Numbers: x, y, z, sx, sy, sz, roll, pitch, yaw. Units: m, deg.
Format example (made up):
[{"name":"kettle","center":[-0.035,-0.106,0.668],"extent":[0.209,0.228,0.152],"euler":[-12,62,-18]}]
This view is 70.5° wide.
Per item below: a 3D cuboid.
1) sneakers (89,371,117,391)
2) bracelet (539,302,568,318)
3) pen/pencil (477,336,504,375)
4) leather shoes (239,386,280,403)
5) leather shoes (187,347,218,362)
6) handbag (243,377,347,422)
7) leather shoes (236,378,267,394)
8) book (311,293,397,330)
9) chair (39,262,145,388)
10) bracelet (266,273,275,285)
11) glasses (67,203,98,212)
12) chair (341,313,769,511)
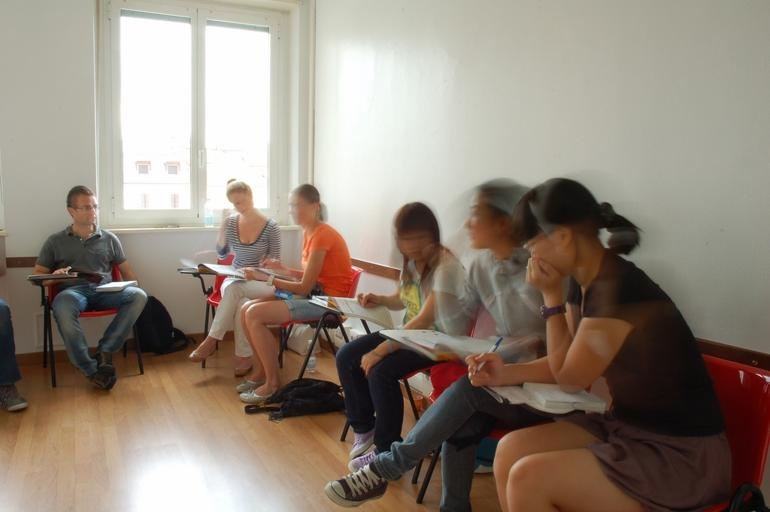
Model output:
[{"name":"sneakers","center":[-1.797,0.816,3.543],"extent":[0.222,0.083,0.102],"euler":[-1,-34,7]},{"name":"bracelet","center":[0.593,0.202,1.918],"extent":[0.066,0.043,0.069],"euler":[10,-13,-33]},{"name":"pen/pencil","center":[0.410,0.357,2.052],"extent":[0.028,0.018,0.120],"euler":[26,52,28]},{"name":"leather shoes","center":[-0.785,0.857,3.408],"extent":[0.212,0.059,0.099],"euler":[2,-3,-26]},{"name":"leather shoes","center":[-1.251,0.712,3.820],"extent":[0.227,0.062,0.120],"euler":[-1,8,-28]},{"name":"handbag","center":[-0.488,0.862,3.283],"extent":[0.359,0.131,0.283],"euler":[-2,0,-23]},{"name":"leather shoes","center":[-0.871,0.850,3.555],"extent":[0.160,0.058,0.077],"euler":[2,-2,-36]},{"name":"book","center":[-0.148,0.275,2.776],"extent":[0.249,0.091,0.237],"euler":[16,4,24]},{"name":"chair","center":[-2.048,0.338,3.841],"extent":[0.636,1.050,0.760],"euler":[-7,9,-44]},{"name":"bracelet","center":[-0.721,0.152,3.464],"extent":[0.047,0.078,0.021],"euler":[8,-21,-1]},{"name":"glasses","center":[-2.113,-0.343,3.836],"extent":[0.172,0.058,0.126],"euler":[-6,14,-33]},{"name":"chair","center":[0.651,0.572,1.978],"extent":[0.557,0.815,0.829],"euler":[14,-6,-31]}]
